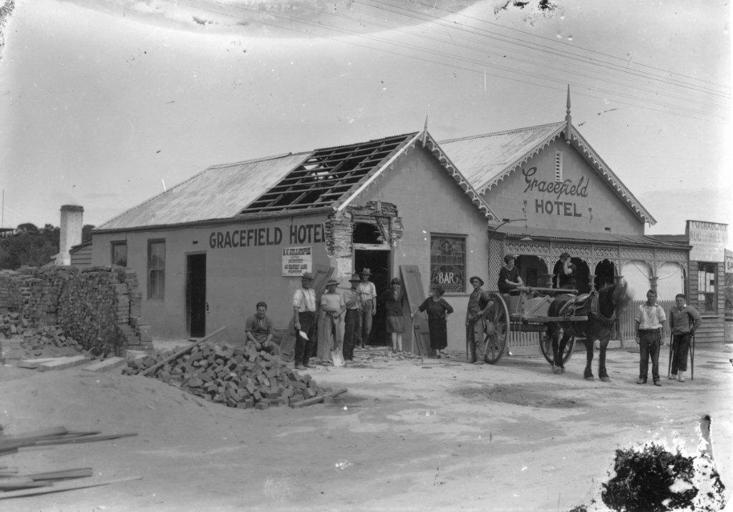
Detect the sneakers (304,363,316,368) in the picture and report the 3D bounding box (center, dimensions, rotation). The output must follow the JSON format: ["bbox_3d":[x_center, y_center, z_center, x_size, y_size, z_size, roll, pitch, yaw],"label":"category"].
[{"bbox_3d":[-1.451,2.867,24.688,0.343,0.154,0.119,-16,-16,36],"label":"sneakers"}]

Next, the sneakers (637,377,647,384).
[{"bbox_3d":[6.948,3.162,24.174,0.125,0.101,0.235,2,4,27],"label":"sneakers"}]

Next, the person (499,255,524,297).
[{"bbox_3d":[3.979,0.667,26.466,0.755,1.340,0.639,2,10,45],"label":"person"}]

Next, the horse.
[{"bbox_3d":[5.724,1.983,25.157,1.166,2.492,3.459,5,-5,-23],"label":"horse"}]

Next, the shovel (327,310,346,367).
[{"bbox_3d":[-0.789,2.180,25.153,0.400,1.317,0.799,0,11,-8],"label":"shovel"}]

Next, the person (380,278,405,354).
[{"bbox_3d":[0.796,1.685,27.273,0.571,2.065,0.615,7,12,23],"label":"person"}]

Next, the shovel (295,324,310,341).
[{"bbox_3d":[-1.640,1.993,24.249,0.163,0.100,0.539,-4,14,-22],"label":"shovel"}]

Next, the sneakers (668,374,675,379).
[{"bbox_3d":[8.000,3.191,25.076,0.073,0.107,0.232,2,3,13],"label":"sneakers"}]

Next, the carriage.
[{"bbox_3d":[4.768,1.737,25.741,2.702,2.149,4.242,3,-7,-29],"label":"carriage"}]

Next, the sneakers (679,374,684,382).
[{"bbox_3d":[8.140,3.179,24.786,0.133,0.160,0.409,-1,-4,4],"label":"sneakers"}]

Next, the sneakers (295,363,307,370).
[{"bbox_3d":[-1.695,2.869,24.542,0.291,0.207,0.115,-4,-5,17],"label":"sneakers"}]

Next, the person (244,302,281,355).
[{"bbox_3d":[-2.664,1.970,24.159,0.781,1.582,1.626,1,11,-5],"label":"person"}]
